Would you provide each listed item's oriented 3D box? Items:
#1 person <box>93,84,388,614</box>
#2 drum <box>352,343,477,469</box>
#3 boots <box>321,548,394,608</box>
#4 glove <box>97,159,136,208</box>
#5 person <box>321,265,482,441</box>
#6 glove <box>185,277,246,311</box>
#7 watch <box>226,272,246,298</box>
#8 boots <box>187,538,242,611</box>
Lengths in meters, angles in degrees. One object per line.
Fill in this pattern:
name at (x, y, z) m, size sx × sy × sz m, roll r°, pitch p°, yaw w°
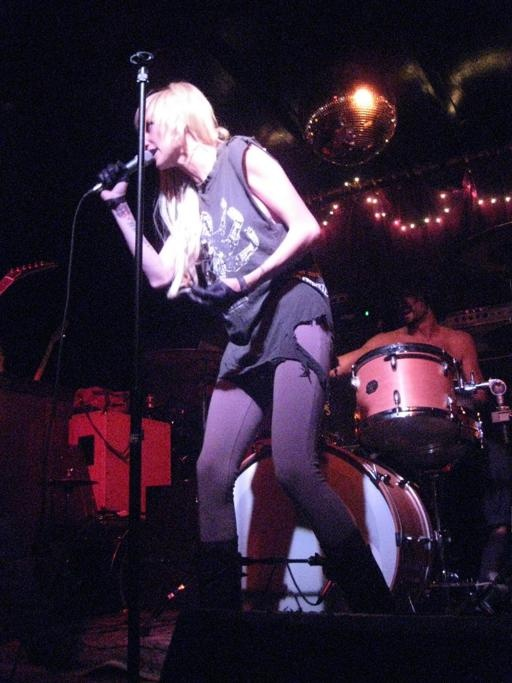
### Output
person at (-0.078, -0.099, 1.831) m, size 0.764 × 1.577 × 0.522 m, roll -10°, pitch -15°, yaw 42°
drum at (0.707, 0.333, 2.710) m, size 0.475 × 0.313 × 0.507 m, roll 7°, pitch -36°, yaw 5°
boots at (0.243, 0.576, 1.572) m, size 0.164 × 0.153 × 0.131 m, roll -3°, pitch -11°, yaw 15°
glove at (-0.417, -0.482, 1.913) m, size 0.065 × 0.073 × 0.210 m, roll -37°, pitch 8°, yaw -34°
person at (0.847, 0.022, 3.668) m, size 1.067 × 0.772 × 0.626 m, roll 4°, pitch 5°, yaw 27°
glove at (-0.095, -0.113, 1.585) m, size 0.184 × 0.069 × 0.057 m, roll -3°, pitch -44°, yaw -39°
watch at (-0.044, -0.134, 1.560) m, size 0.025 × 0.072 × 0.028 m, roll -8°, pitch -27°, yaw -9°
boots at (-0.088, 0.600, 1.656) m, size 0.146 × 0.143 × 0.255 m, roll -2°, pitch 4°, yaw 4°
